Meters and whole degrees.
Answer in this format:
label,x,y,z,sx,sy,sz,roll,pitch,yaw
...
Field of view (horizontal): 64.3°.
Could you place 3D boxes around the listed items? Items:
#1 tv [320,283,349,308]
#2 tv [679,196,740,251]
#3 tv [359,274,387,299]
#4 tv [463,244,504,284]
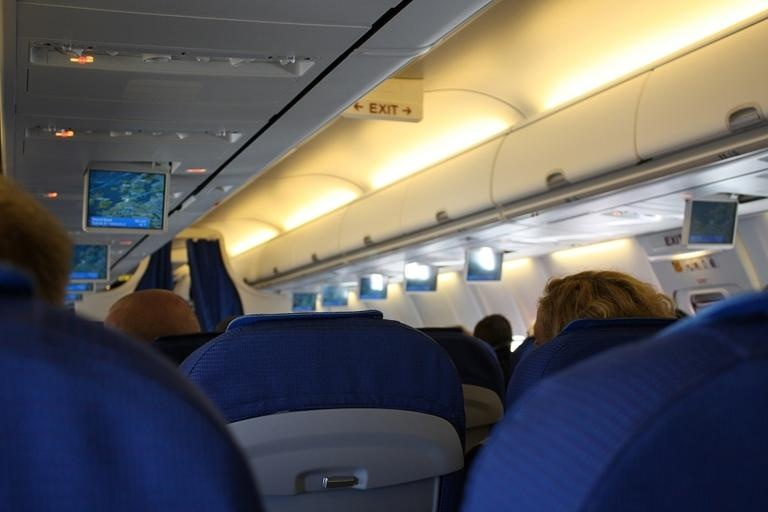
label,x,y,z,sx,sy,sz,roll,pitch,yaw
tv,-1.345,1.066,16.917,0.937,0.716,0.120,3,-11,-29
tv,3.283,-0.346,6.185,0.828,0.491,0.332,2,-9,-36
tv,-0.277,0.689,14.224,0.624,0.492,0.082,5,-16,-27
tv,1.586,0.107,9.756,0.687,0.447,0.092,1,-2,-31
